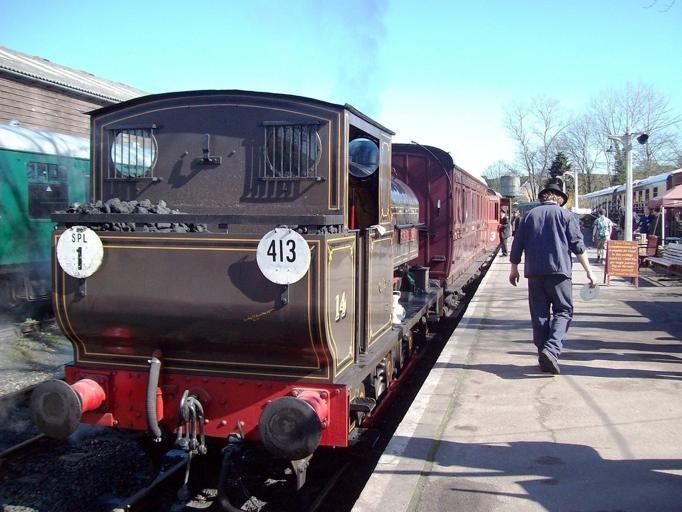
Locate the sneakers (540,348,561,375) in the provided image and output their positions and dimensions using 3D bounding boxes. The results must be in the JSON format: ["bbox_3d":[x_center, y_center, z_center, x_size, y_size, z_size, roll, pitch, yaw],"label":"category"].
[{"bbox_3d":[2.422,1.230,6.160,0.212,0.325,0.220,0,6,23],"label":"sneakers"}]

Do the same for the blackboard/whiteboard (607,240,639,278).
[{"bbox_3d":[6.920,0.076,13.044,0.813,1.237,0.649,-1,2,4],"label":"blackboard/whiteboard"}]

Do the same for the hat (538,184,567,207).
[{"bbox_3d":[2.684,-0.796,6.626,0.280,0.137,0.357,16,-22,33],"label":"hat"}]

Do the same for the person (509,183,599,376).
[{"bbox_3d":[2.475,0.257,6.324,0.798,2.217,0.701,-6,6,-31],"label":"person"}]

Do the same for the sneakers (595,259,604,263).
[{"bbox_3d":[9.319,0.191,19.072,0.269,0.204,0.068,-3,-7,23],"label":"sneakers"}]

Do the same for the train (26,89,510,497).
[{"bbox_3d":[0.045,-0.247,8.187,2.541,2.972,8.588,2,6,13],"label":"train"}]
